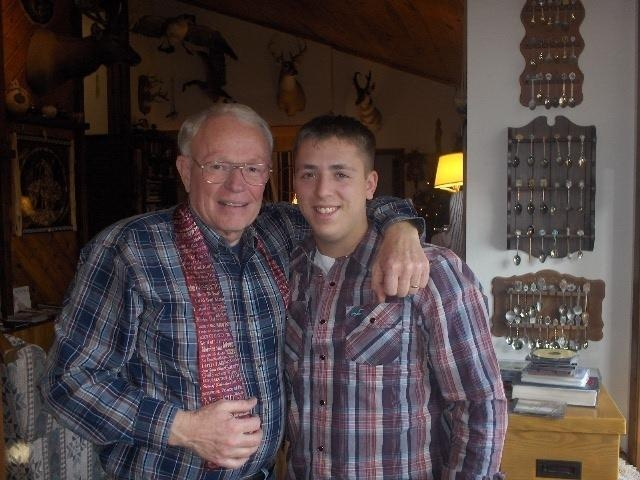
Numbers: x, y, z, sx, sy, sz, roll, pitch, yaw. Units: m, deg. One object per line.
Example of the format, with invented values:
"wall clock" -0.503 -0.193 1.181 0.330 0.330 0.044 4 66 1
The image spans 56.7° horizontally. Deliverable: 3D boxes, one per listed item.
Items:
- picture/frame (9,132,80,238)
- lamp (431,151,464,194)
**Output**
"picture/frame" -2.625 -0.547 5.588 0.143 1.106 0.945 2 5 18
"lamp" 1.208 -0.651 5.473 0.326 0.278 0.337 -2 5 5
